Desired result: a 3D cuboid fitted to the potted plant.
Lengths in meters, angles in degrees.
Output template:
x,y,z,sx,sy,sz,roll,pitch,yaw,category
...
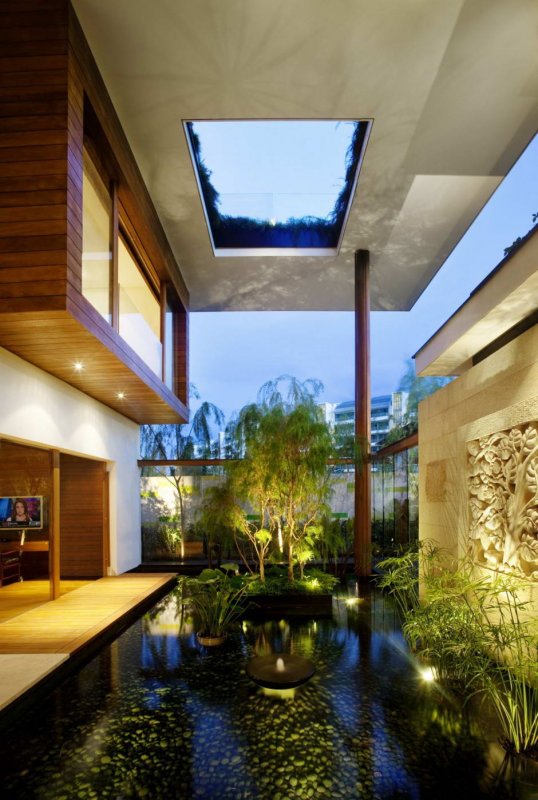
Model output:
x,y,z,sx,sy,sz,roll,pitch,yaw,category
-0.552,2.142,5.416,0.790,0.746,0.835,0,-4,-5,potted plant
